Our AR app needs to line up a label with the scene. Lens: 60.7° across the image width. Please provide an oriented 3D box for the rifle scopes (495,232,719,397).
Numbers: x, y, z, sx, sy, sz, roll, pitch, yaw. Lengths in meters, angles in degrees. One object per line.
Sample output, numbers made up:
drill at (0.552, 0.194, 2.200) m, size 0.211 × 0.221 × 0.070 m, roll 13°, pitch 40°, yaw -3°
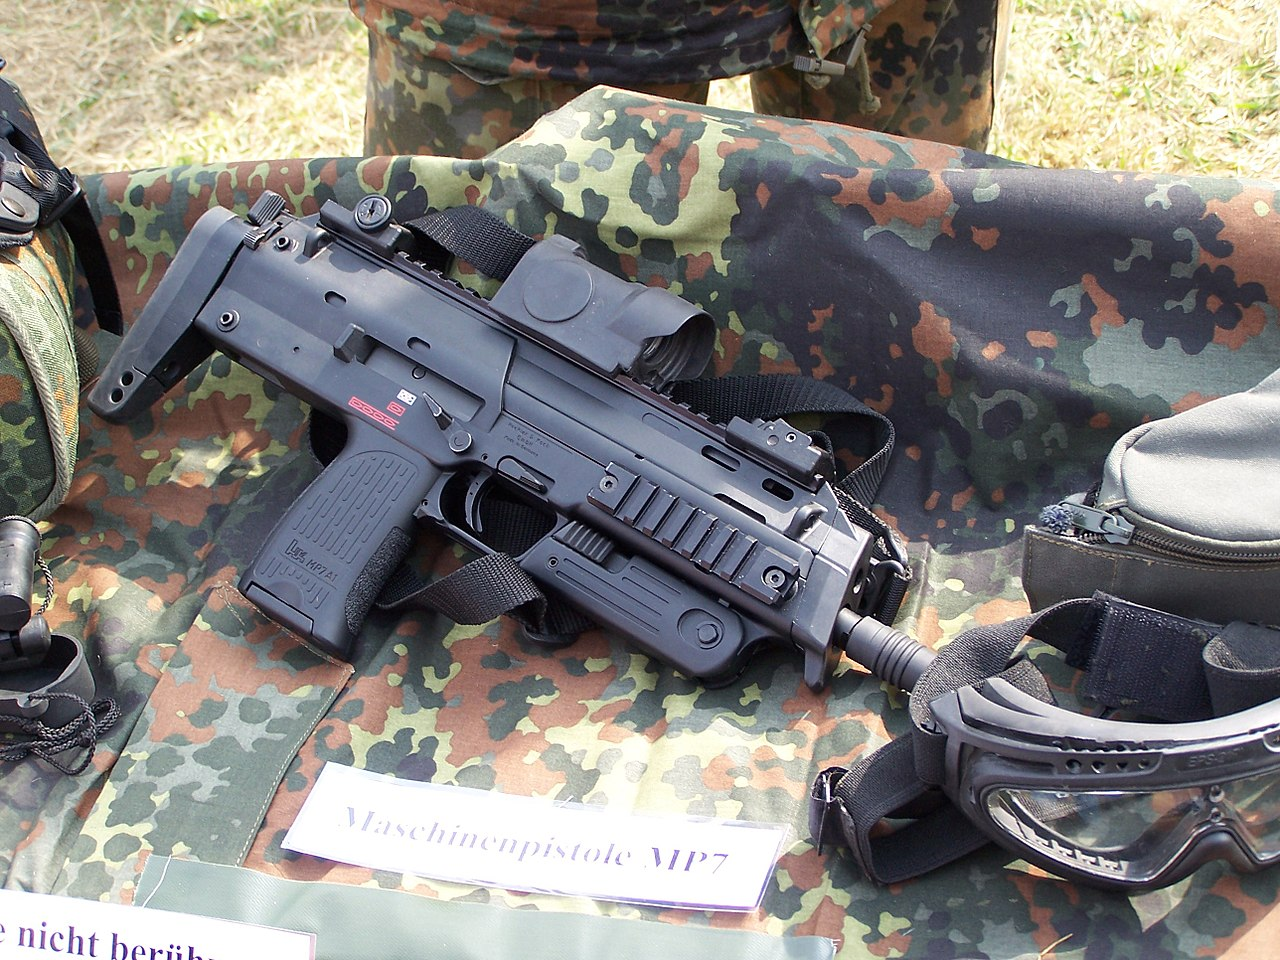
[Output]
rifle scopes at (-0.102, -0.428, 2.938) m, size 0.560 × 0.231 × 0.388 m, roll 28°, pitch 55°, yaw 20°
